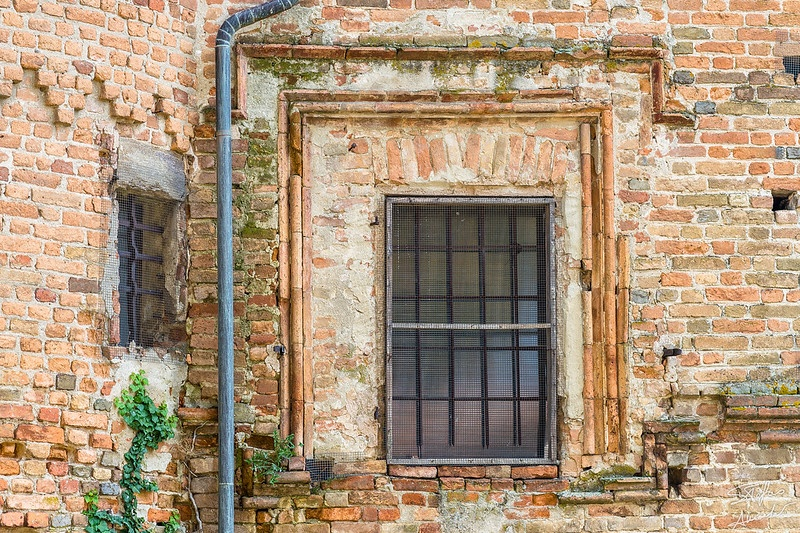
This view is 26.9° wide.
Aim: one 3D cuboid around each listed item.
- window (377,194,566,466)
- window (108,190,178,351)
[{"bbox_3d":[0.544,0.509,13.145,1.314,2.062,0.349,0,-13,-1],"label":"window"},{"bbox_3d":[-1.966,0.054,12.809,0.595,1.143,0.126,10,-17,-39],"label":"window"}]
